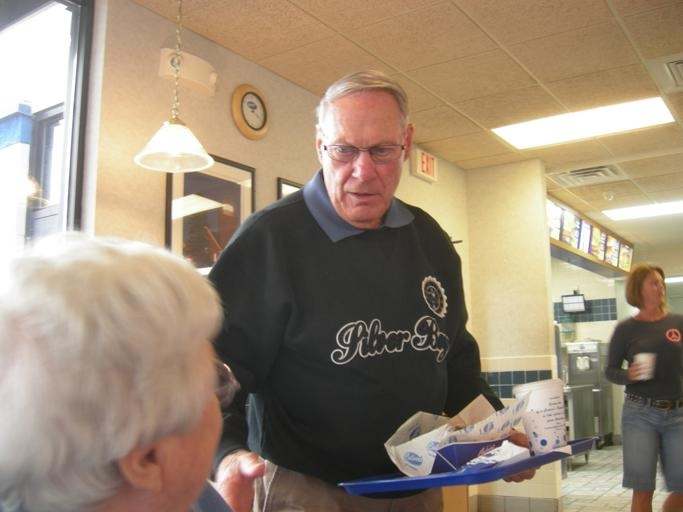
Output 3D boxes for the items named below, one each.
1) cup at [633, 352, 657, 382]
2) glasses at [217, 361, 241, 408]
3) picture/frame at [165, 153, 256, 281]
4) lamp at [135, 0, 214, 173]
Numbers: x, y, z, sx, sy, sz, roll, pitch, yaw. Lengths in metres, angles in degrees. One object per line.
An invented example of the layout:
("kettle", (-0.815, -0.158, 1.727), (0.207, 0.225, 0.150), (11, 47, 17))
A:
("cup", (2.043, 0.739, 3.756), (0.157, 0.183, 0.141), (-2, -8, 11))
("glasses", (-0.164, 0.180, 0.789), (0.021, 0.060, 0.046), (-19, -6, 10))
("picture/frame", (-0.644, -0.204, 2.627), (0.068, 0.568, 0.663), (-4, -11, 34))
("lamp", (-0.874, -0.887, 2.959), (0.405, 0.956, 0.614), (1, -8, -14))
